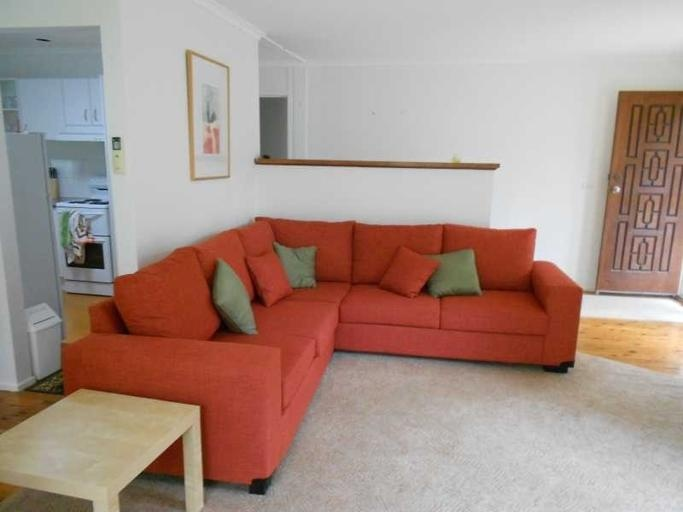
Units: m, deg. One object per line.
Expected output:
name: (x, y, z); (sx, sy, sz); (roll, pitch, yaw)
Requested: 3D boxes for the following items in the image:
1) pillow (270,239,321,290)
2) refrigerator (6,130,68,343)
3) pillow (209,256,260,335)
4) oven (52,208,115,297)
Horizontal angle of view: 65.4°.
pillow: (-0.414, 0.105, 4.722); (0.411, 0.392, 0.123); (2, -27, -48)
refrigerator: (-2.429, -0.139, 4.235); (0.192, 1.622, 0.350); (11, 17, 40)
pillow: (-0.753, 0.280, 3.607); (0.131, 0.443, 0.457); (-18, -31, 6)
oven: (-2.814, -0.024, 5.674); (0.592, 1.001, 0.534); (0, -11, -43)
